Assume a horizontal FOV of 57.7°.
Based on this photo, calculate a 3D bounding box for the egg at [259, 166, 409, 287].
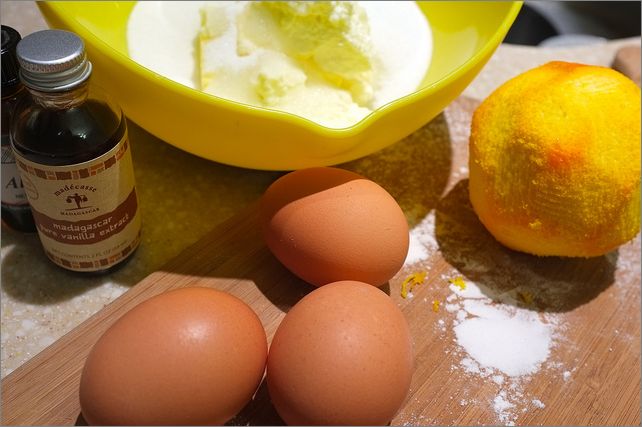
[{"bbox_3d":[0.019,0.047,0.946,0.247,0.196,0.191,-7,24,-20],"label":"egg"}]
